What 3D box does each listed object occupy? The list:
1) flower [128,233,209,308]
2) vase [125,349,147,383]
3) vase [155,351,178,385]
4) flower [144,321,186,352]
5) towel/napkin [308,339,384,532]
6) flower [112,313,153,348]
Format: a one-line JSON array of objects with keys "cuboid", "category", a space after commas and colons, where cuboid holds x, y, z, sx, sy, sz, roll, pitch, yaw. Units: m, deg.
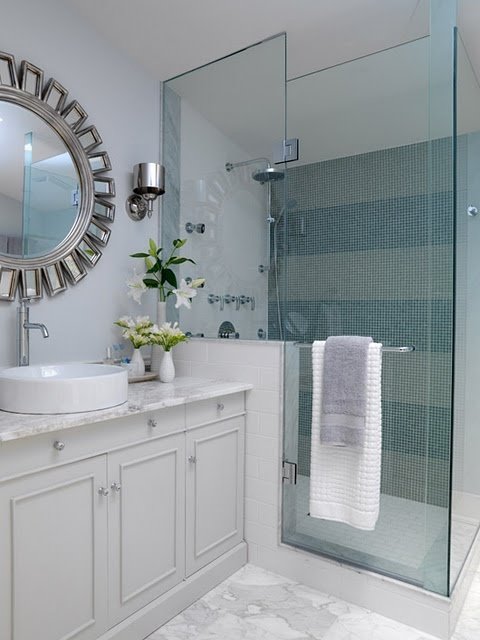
[{"cuboid": [-0.339, -0.213, 2.654, 0.361, 0.362, 0.368, 1, 2, -7], "category": "flower"}, {"cuboid": [-0.451, 0.195, 2.369, 0.081, 0.141, 0.142, 1, 3, -11], "category": "vase"}, {"cuboid": [-0.331, 0.199, 2.428, 0.063, 0.136, 0.192, 1, 3, -8], "category": "vase"}, {"cuboid": [-0.318, 0.078, 2.405, 0.142, 0.118, 0.134, 1, -5, -12], "category": "flower"}, {"cuboid": [0.390, 0.414, 2.068, 0.285, 0.695, 0.159, 3, 3, 20], "category": "towel/napkin"}, {"cuboid": [-0.452, 0.045, 2.450, 0.165, 0.167, 0.171, 2, -2, 28], "category": "flower"}]
